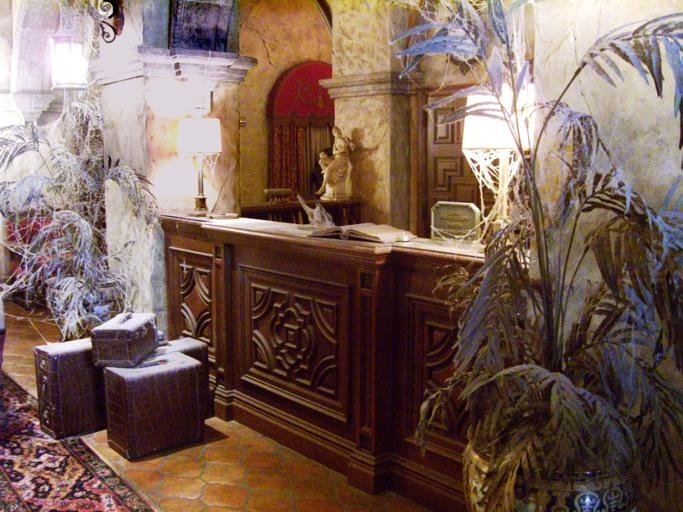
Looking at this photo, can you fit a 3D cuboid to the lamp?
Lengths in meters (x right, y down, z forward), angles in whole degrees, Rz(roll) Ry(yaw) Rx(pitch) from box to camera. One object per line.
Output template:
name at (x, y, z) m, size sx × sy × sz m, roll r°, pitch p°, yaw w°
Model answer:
lamp at (-1.401, -0.911, 5.246) m, size 0.404 × 0.938 × 0.538 m, roll -4°, pitch 11°, yaw -17°

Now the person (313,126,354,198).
person at (-0.080, -1.361, 7.719) m, size 0.555 × 1.060 × 0.564 m, roll -1°, pitch 11°, yaw 2°

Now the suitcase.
suitcase at (-1.733, 0.905, 4.093) m, size 1.103 × 0.862 × 1.067 m, roll -7°, pitch 15°, yaw -41°
